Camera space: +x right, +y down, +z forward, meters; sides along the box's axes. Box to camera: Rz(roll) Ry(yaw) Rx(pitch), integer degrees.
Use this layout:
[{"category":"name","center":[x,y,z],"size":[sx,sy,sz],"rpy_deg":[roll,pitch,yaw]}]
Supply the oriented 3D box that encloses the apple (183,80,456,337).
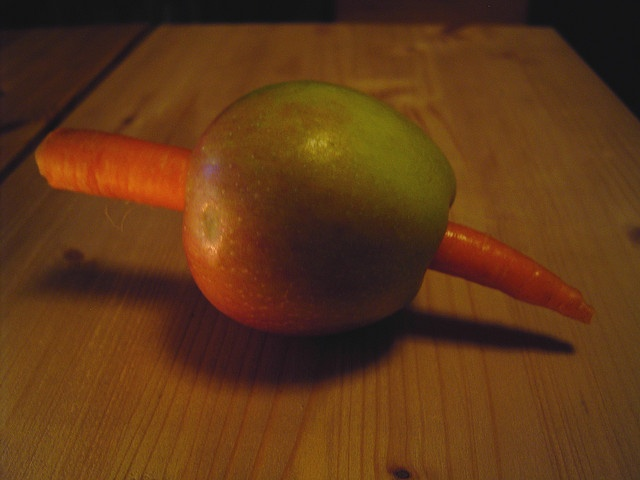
[{"category":"apple","center":[-0.001,-0.045,0.815],"size":[0.332,0.277,0.315],"rpy_deg":[-7,80,16]}]
